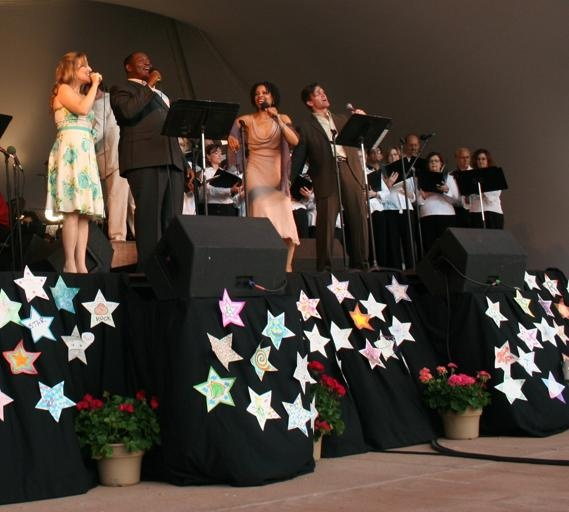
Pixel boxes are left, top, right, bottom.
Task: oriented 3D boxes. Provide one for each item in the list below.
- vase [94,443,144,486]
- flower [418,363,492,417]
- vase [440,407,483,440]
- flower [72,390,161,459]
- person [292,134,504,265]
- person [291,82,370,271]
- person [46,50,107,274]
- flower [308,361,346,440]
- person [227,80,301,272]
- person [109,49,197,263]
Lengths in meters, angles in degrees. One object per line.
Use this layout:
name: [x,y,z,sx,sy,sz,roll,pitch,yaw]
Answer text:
vase: [-0.758,0.977,2.481,0.177,0.167,0.193,4,-12,-24]
flower: [1.167,0.845,3.391,0.302,0.206,0.361,8,3,-11]
vase: [1.122,1.057,3.348,0.181,0.179,0.211,0,-11,-2]
flower: [-0.819,0.816,2.542,0.305,0.230,0.383,21,1,9]
person: [1.068,-0.501,5.119,1.191,1.024,0.222,4,-15,-34]
person: [0.382,-0.684,4.420,0.600,1.604,0.699,0,-2,9]
person: [-1.244,-0.558,3.180,0.322,1.322,0.565,1,-2,-25]
flower: [0.251,0.818,3.071,0.198,0.443,0.412,-1,-2,17]
person: [-0.160,-0.662,4.232,0.615,1.563,0.678,0,-2,-24]
person: [-0.922,-0.705,3.590,0.510,1.509,0.559,0,-2,-11]
